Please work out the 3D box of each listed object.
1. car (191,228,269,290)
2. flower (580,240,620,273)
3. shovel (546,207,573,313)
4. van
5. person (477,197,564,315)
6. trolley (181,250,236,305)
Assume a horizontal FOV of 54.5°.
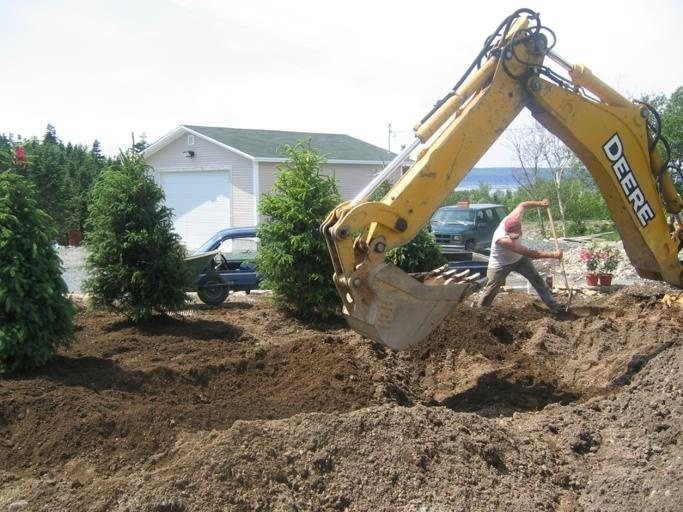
[{"bbox_3d":[-2.333,0.034,13.468,1.610,1.663,1.053,1,-2,-11],"label":"car"},{"bbox_3d":[6.611,0.036,17.016,0.974,0.709,0.950,2,4,-11],"label":"flower"},{"bbox_3d":[6.151,0.004,18.697,0.713,3.566,0.769,4,5,13],"label":"shovel"},{"bbox_3d":[3.742,-0.870,20.453,1.578,1.301,2.911,-1,4,37],"label":"van"},{"bbox_3d":[3.105,0.033,11.320,1.482,2.132,0.877,0,0,-20],"label":"person"},{"bbox_3d":[-2.570,0.456,12.591,0.771,0.981,0.861,0,8,-20],"label":"trolley"}]
